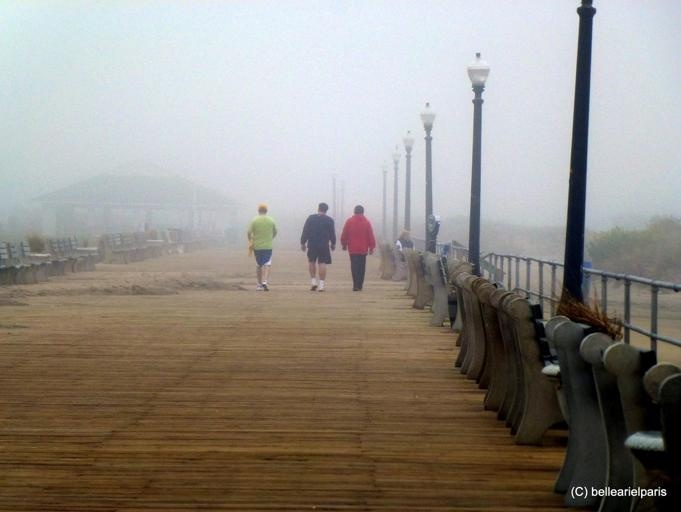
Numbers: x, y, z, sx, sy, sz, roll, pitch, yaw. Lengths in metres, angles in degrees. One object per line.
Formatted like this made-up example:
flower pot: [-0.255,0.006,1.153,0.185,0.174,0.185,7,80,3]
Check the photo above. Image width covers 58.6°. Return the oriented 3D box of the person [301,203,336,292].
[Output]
person: [-0.605,-0.256,16.673,0.892,2.376,1.150,0,2,-3]

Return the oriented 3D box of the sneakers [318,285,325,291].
sneakers: [-0.511,0.861,16.380,0.119,0.137,0.262,0,2,4]

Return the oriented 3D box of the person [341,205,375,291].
person: [0.520,-0.269,17.036,0.829,2.476,0.696,-1,28,-1]

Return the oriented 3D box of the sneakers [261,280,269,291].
sneakers: [-2.068,0.881,16.557,0.124,0.346,0.145,0,37,3]
